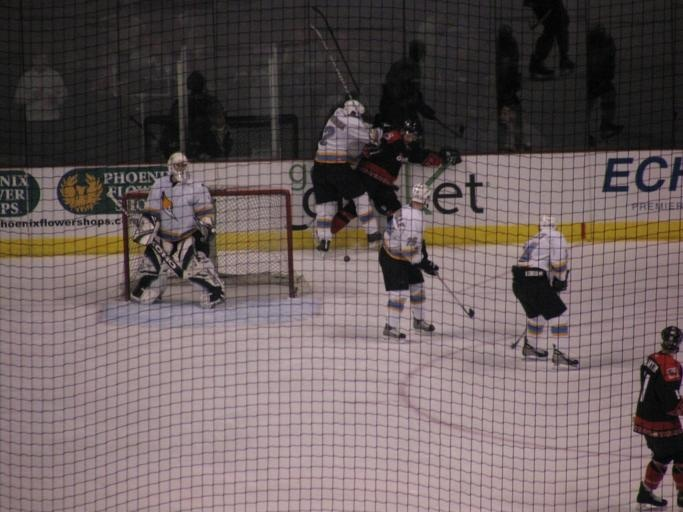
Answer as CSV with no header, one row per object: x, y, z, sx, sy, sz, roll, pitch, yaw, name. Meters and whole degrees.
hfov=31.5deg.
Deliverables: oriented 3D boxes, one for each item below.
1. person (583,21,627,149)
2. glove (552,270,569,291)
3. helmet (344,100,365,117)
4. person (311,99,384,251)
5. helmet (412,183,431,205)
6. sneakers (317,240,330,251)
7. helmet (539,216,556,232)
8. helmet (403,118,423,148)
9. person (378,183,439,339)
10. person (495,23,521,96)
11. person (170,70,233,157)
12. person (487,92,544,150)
4.020,-2.646,18.638,0.561,1.841,0.265,-4,12,-4,person
2.745,0.307,15.024,0.272,0.258,0.187,2,-3,-13,glove
0.181,-2.246,18.323,0.287,0.234,0.362,-2,12,2,helmet
0.049,-1.259,18.426,1.081,2.198,0.794,-5,12,-12,person
1.004,-0.791,15.364,0.211,0.268,0.279,8,9,28,helmet
-0.269,-0.170,18.283,0.180,0.165,0.171,2,2,13,sneakers
2.537,-0.405,14.900,0.210,0.198,0.155,3,-3,-11,helmet
1.068,-1.851,18.278,0.344,0.413,0.438,8,25,15,helmet
0.793,0.046,15.406,0.909,1.881,0.602,-12,15,-36,person
2.558,-2.966,18.625,0.385,1.150,0.134,-3,12,2,person
-2.073,-2.173,18.580,0.677,1.324,0.164,-5,12,-9,person
2.660,-2.053,18.728,0.873,0.760,0.201,-4,4,-13,person
